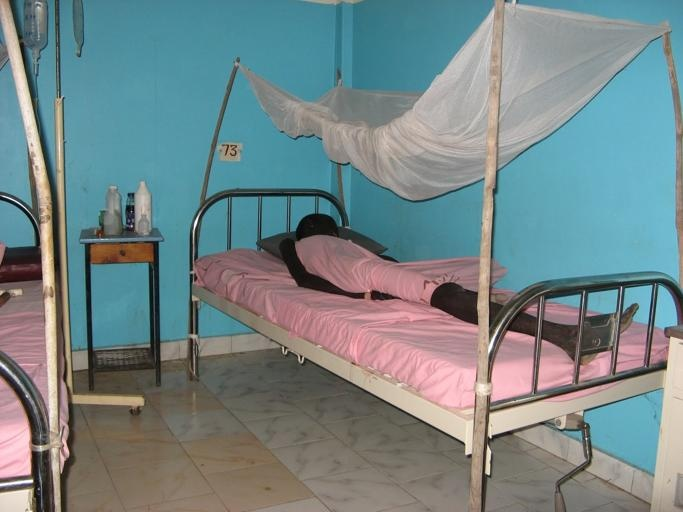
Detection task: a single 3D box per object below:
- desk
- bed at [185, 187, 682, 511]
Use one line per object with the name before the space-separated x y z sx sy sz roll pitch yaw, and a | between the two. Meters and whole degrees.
desk | -1.495 0.331 4.332 0.539 1.045 0.623 -4 14 -22
bed | 0.213 0.453 3.696 1.543 1.334 2.458 -5 13 -30
